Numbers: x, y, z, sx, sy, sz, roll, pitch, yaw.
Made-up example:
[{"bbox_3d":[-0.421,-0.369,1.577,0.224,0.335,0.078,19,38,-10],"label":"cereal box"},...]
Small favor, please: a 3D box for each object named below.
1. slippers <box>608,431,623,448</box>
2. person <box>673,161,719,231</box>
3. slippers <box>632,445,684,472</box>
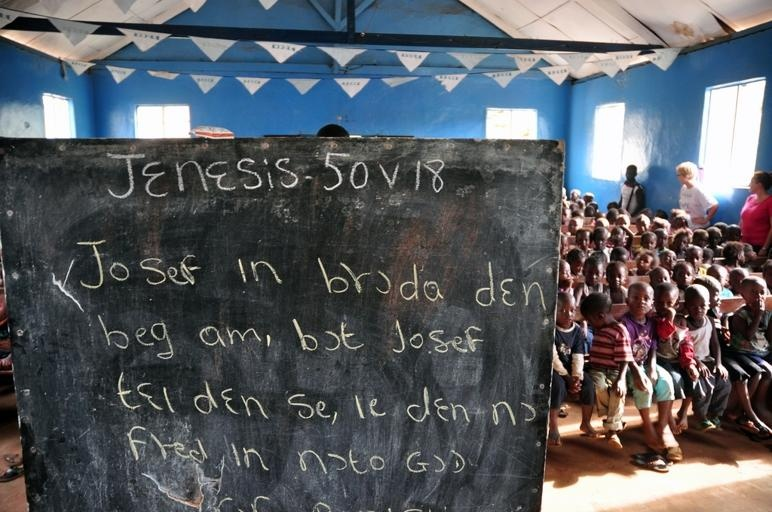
[{"bbox_3d":[1.687,1.347,5.403,0.075,0.091,0.241,-2,-2,10],"label":"slippers"},{"bbox_3d":[3.617,-0.703,8.466,0.354,1.035,0.457,-6,31,22],"label":"person"},{"bbox_3d":[1.982,1.480,5.338,0.332,0.093,0.166,-8,9,45],"label":"slippers"}]
